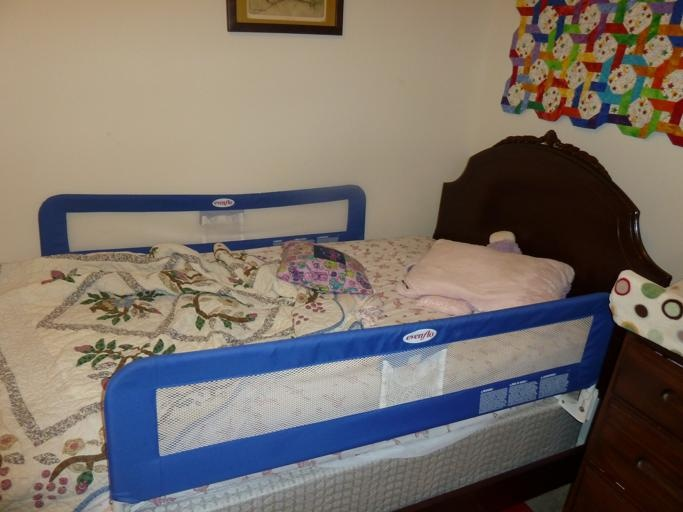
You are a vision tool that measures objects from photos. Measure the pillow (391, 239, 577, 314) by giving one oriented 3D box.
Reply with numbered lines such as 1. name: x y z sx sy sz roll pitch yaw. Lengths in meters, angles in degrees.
1. pillow: 0.626 0.103 2.384 0.544 0.123 0.389 9 36 30

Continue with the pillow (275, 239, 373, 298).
1. pillow: -0.088 0.048 2.574 0.445 0.178 0.377 -1 19 -5

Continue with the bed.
1. bed: -0.054 0.429 2.669 2.352 1.230 2.071 -9 32 -17
